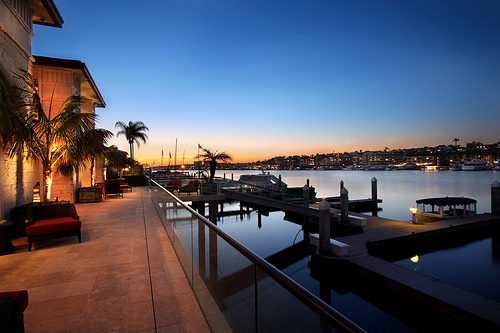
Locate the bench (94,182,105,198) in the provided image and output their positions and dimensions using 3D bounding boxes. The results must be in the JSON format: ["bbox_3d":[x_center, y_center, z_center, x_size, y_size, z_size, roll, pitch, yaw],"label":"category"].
[{"bbox_3d":[-10.244,1.638,22.302,0.614,0.524,1.099,0,0,-13],"label":"bench"}]

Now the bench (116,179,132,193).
[{"bbox_3d":[-10.315,1.636,27.198,1.174,1.253,2.027,0,-1,-37],"label":"bench"}]

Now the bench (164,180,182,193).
[{"bbox_3d":[-5.786,1.471,24.809,1.084,0.905,0.978,-3,-7,27],"label":"bench"}]

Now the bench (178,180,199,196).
[{"bbox_3d":[-4.775,1.590,24.964,1.285,1.102,0.954,2,-9,-39],"label":"bench"}]

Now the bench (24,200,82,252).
[{"bbox_3d":[-8.807,2.601,14.691,1.988,1.785,2.232,3,-7,-39],"label":"bench"}]

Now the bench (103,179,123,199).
[{"bbox_3d":[-9.831,1.534,23.662,1.183,1.291,1.531,2,1,-25],"label":"bench"}]
